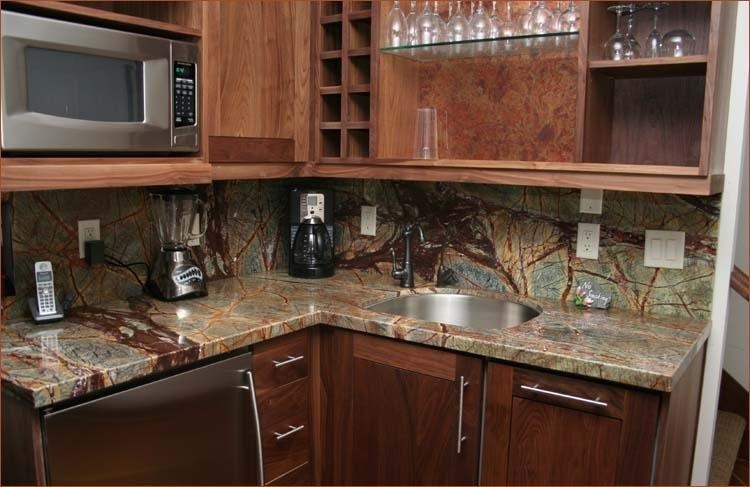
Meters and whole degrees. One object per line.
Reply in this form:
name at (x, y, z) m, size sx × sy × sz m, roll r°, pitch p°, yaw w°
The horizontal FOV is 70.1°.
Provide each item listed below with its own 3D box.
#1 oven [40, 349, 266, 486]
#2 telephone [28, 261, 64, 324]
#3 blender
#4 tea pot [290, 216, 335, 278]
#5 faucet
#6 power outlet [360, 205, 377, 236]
oven at (-0.786, 0.587, 1.826) m, size 0.353 × 0.479 × 0.519 m, roll 7°, pitch 11°, yaw 41°
telephone at (-1.288, 0.179, 2.068) m, size 0.101 × 0.226 × 0.140 m, roll -10°, pitch 14°, yaw -32°
blender at (-0.902, 0.002, 2.330) m, size 0.278 × 0.484 × 0.144 m, roll 2°, pitch 13°, yaw 18°
tea pot at (-0.326, 0.016, 2.765) m, size 0.259 × 0.298 × 0.234 m, roll -2°, pitch 5°, yaw -18°
faucet at (0.158, 0.053, 2.633) m, size 0.236 × 0.307 × 0.217 m, roll 1°, pitch 12°, yaw 16°
power outlet at (-0.048, -0.125, 2.813) m, size 0.100 × 0.148 × 0.018 m, roll 2°, pitch -3°, yaw -36°
